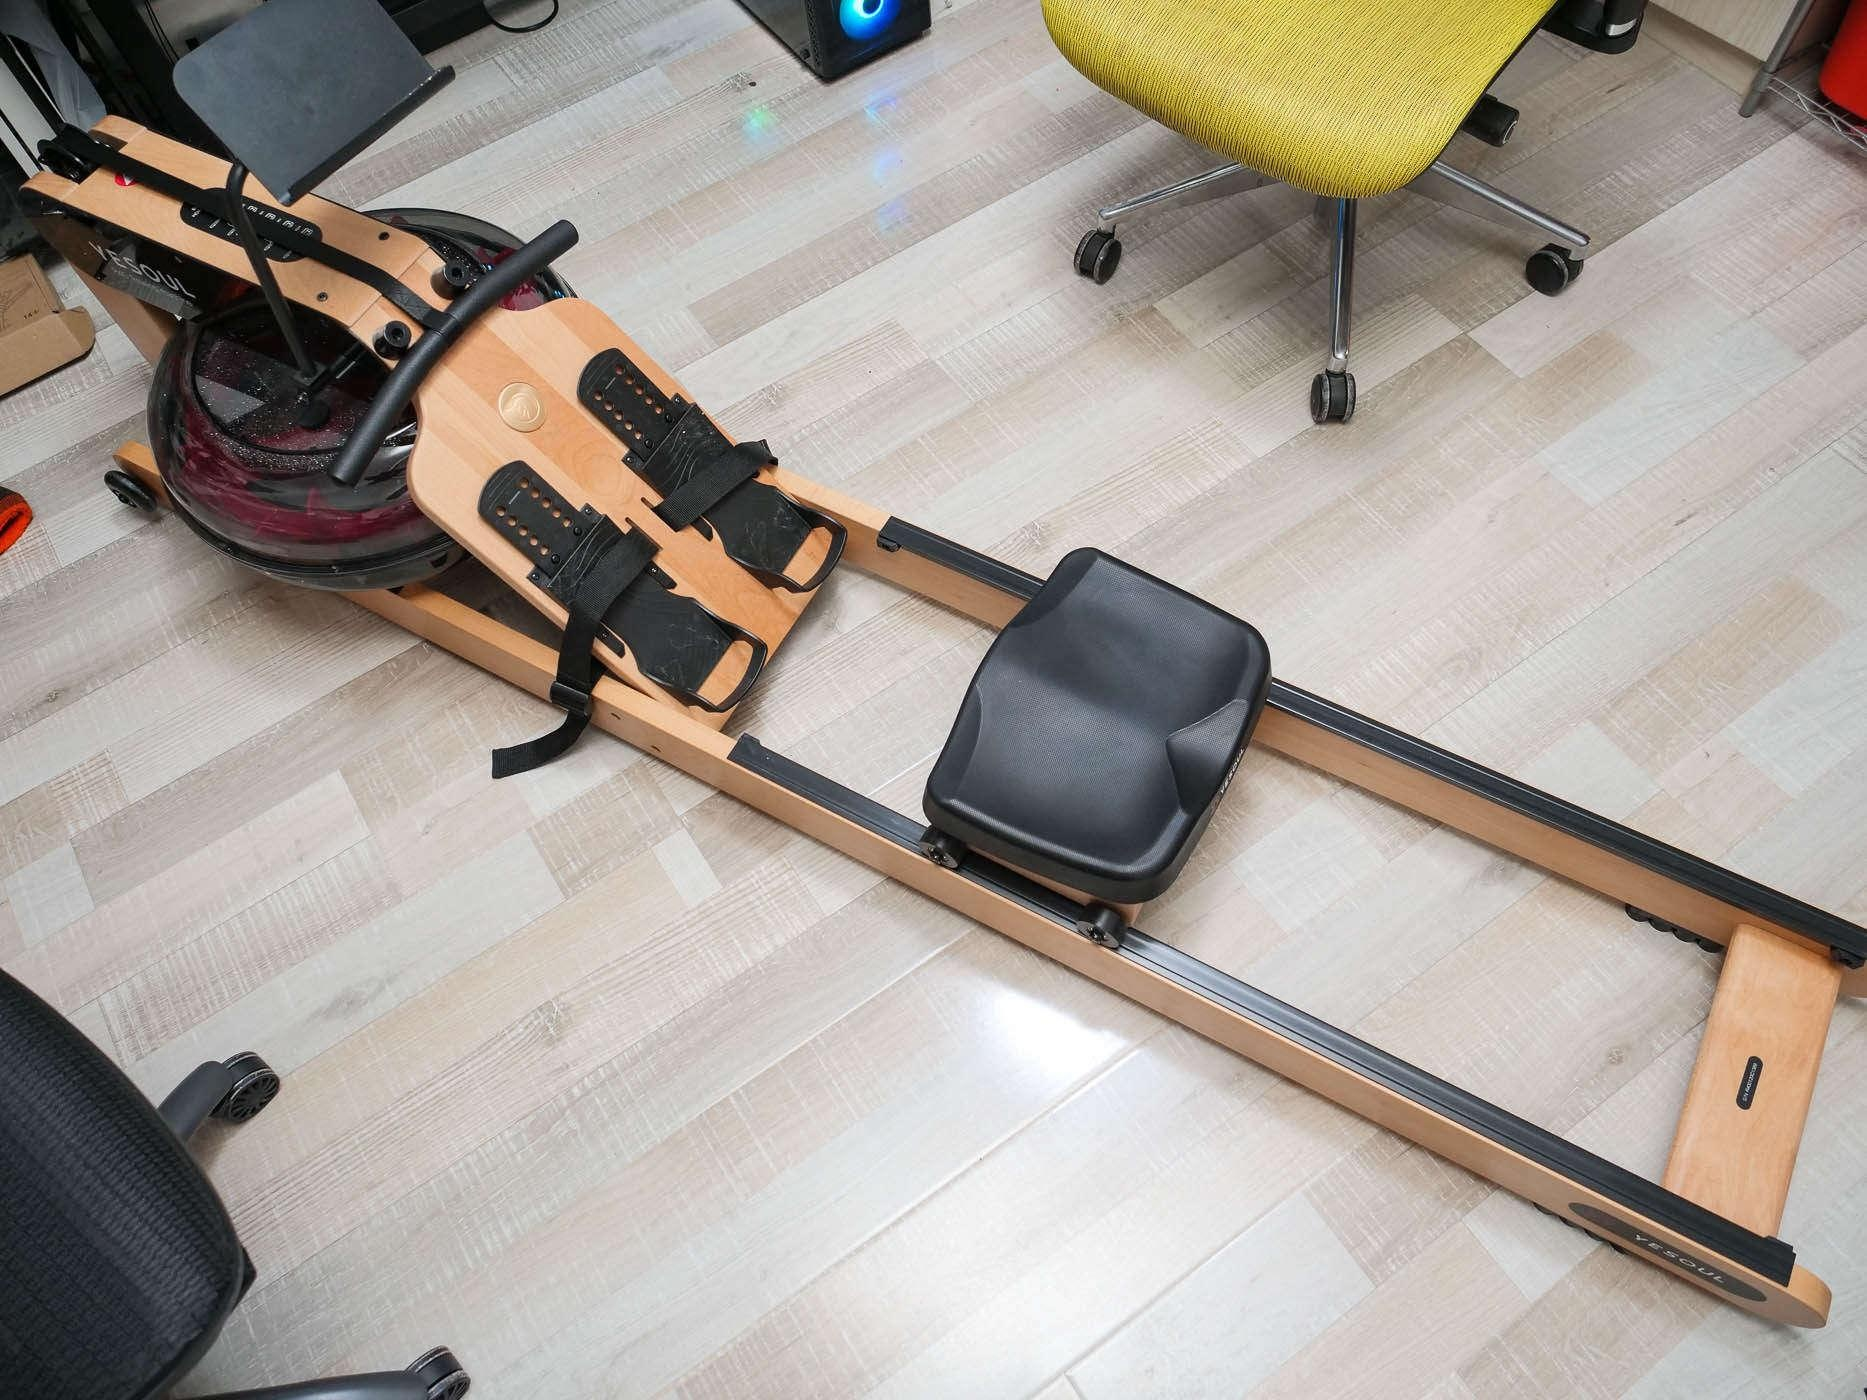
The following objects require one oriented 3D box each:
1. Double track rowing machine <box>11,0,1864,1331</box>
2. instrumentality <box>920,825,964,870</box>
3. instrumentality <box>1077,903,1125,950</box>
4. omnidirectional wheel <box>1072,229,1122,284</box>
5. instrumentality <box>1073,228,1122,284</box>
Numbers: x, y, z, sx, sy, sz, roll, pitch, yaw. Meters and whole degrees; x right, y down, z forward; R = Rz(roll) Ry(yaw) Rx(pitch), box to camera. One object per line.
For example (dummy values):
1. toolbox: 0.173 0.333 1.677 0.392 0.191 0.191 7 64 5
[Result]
1. Double track rowing machine: 0.027 0.001 2.306 2.458 0.786 0.665 32 74 14
2. instrumentality: 0.017 0.214 2.150 0.057 0.023 0.060 38 106 2
3. instrumentality: 0.242 0.319 2.097 0.062 0.059 0.034 39 70 -16
4. omnidirectional wheel: 0.305 -0.810 2.723 0.044 0.085 0.072 27 88 12
5. instrumentality: 0.306 -0.810 2.722 0.062 0.081 0.099 26 102 35
